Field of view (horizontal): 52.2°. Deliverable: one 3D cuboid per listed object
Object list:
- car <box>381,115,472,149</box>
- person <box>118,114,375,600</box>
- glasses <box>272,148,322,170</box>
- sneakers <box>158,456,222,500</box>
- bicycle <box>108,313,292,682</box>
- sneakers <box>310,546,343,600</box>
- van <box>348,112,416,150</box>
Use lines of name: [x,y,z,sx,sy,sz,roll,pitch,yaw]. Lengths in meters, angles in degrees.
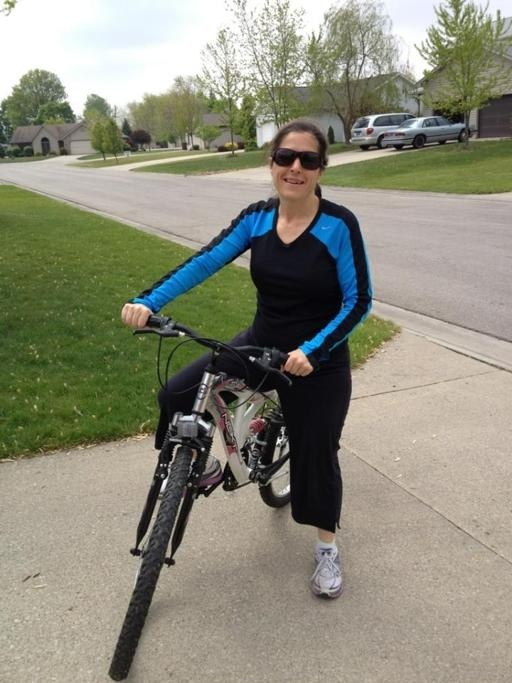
car: [10.591,-13.055,32.673,4.626,2.016,1.933,-3,15,-9]
person: [0.075,0.010,2.146,1.004,1.736,0.932,15,22,37]
glasses: [0.161,-0.713,2.044,0.186,0.091,0.088,0,14,2]
sneakers: [-0.235,0.566,2.170,0.093,0.123,0.284,17,9,39]
bicycle: [-0.183,0.478,2.174,0.620,1.216,1.268,0,14,4]
sneakers: [0.306,0.990,2.223,0.099,0.105,0.214,1,25,9]
van: [7.860,-13.945,34.942,4.476,1.779,2.082,-25,34,-15]
